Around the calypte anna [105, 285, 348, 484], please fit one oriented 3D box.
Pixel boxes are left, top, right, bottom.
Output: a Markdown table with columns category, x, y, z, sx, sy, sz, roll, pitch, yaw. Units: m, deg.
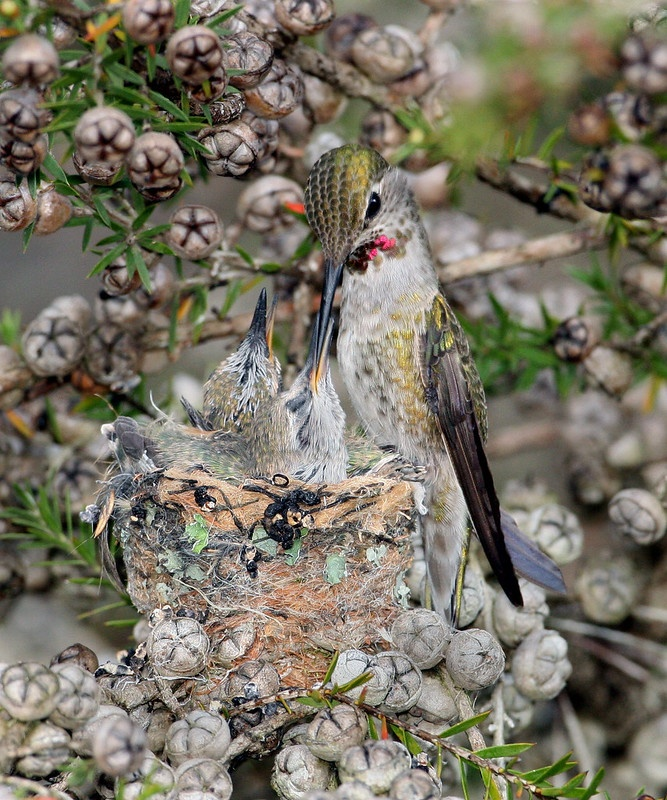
| category | x | y | z | sx | sy | sz | roll | pitch | yaw |
| --- | --- | --- | --- | --- | --- | --- | --- | --- | --- |
| calypte anna | -0.210 | 0.016 | 2.409 | 0.472 | 0.407 | 0.357 | -5 | 74 | 1 |
